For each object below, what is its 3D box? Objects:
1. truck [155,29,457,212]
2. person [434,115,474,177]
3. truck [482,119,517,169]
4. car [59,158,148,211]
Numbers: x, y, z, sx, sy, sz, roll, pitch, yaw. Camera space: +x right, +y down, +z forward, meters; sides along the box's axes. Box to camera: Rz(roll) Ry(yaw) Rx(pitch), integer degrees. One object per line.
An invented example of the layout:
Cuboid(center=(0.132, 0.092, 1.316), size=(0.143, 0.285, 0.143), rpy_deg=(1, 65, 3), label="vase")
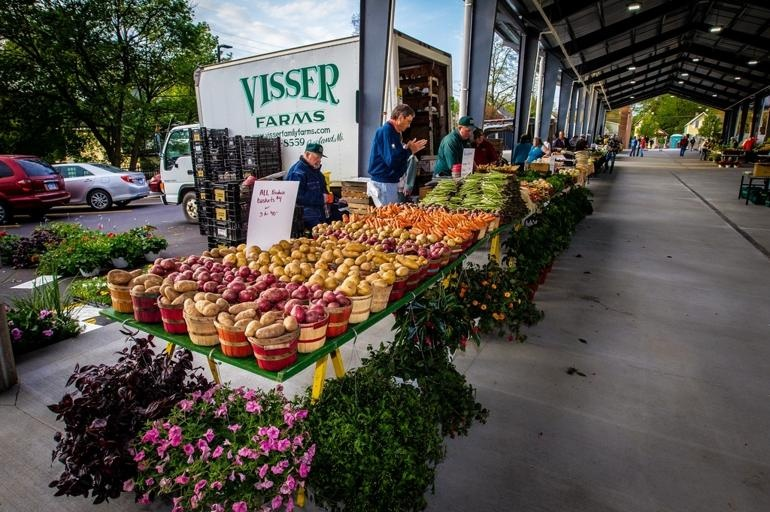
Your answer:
Cuboid(center=(-1.803, -2.382, 9.127), size=(6.292, 3.105, 3.066), rpy_deg=(6, 5, 33), label="truck")
Cuboid(center=(1.205, -1.917, 7.120), size=(0.709, 1.131, 0.613), rpy_deg=(6, 16, 14), label="person")
Cuboid(center=(4.382, -4.532, 16.292), size=(1.356, 2.237, 2.438), rpy_deg=(9, 22, 31), label="truck")
Cuboid(center=(-8.697, -2.199, 12.516), size=(2.828, 0.894, 1.166), rpy_deg=(5, 12, -6), label="car")
